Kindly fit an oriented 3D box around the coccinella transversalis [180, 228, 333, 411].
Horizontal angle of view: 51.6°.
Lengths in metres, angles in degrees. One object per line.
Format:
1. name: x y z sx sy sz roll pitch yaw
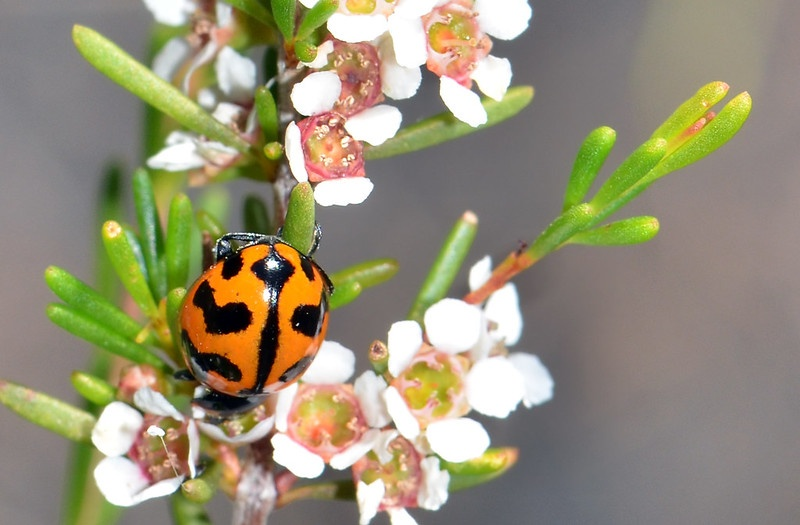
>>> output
1. coccinella transversalis: -0.238 0.096 1.337 0.217 0.088 0.284 20 97 -7
